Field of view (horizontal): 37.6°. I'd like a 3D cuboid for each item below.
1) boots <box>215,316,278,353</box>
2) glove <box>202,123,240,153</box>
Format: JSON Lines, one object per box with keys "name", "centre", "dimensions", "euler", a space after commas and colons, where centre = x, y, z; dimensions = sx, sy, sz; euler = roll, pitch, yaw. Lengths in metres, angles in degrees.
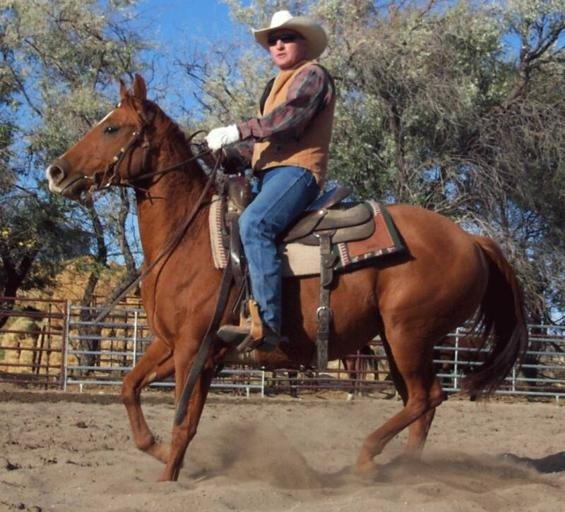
{"name": "boots", "centre": [-0.365, 0.832, 8.320], "dimensions": [0.713, 0.338, 0.266], "euler": [13, -46, -9]}
{"name": "glove", "centre": [-0.607, -1.208, 8.472], "dimensions": [0.321, 0.221, 0.115], "euler": [-17, -22, 27]}
